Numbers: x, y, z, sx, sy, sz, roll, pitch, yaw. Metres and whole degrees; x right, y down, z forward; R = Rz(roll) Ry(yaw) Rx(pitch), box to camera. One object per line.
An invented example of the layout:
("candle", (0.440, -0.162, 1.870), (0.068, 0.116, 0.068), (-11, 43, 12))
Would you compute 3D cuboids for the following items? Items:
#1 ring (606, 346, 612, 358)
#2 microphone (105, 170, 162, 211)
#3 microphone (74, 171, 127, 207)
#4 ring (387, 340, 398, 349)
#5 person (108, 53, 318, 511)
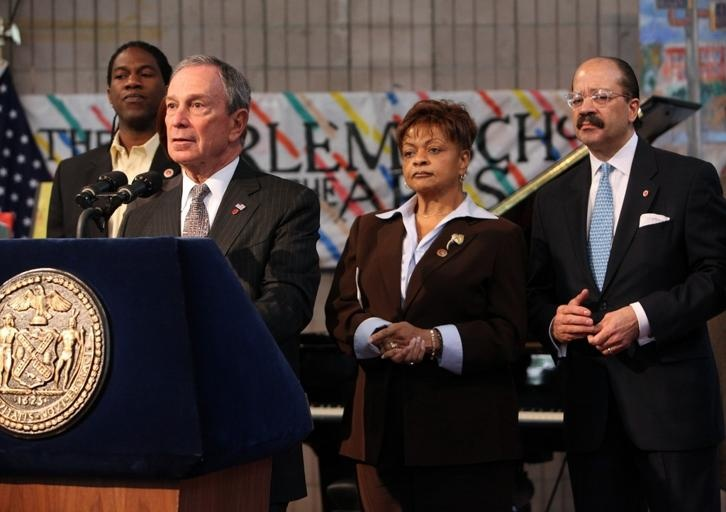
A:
("ring", (1.037, 0.401, 5.352), (0.030, 0.030, 0.010), (9, 22, -1))
("microphone", (-0.872, -0.263, 5.024), (0.090, 0.095, 0.315), (-13, 9, 24))
("microphone", (-1.010, -0.262, 5.005), (0.088, 0.100, 0.303), (-11, 13, 27))
("ring", (0.119, 0.371, 5.331), (0.032, 0.031, 0.008), (-1, -12, 6))
("person", (-0.547, 0.103, 5.229), (0.704, 1.851, 0.474), (-3, 4, 22))
